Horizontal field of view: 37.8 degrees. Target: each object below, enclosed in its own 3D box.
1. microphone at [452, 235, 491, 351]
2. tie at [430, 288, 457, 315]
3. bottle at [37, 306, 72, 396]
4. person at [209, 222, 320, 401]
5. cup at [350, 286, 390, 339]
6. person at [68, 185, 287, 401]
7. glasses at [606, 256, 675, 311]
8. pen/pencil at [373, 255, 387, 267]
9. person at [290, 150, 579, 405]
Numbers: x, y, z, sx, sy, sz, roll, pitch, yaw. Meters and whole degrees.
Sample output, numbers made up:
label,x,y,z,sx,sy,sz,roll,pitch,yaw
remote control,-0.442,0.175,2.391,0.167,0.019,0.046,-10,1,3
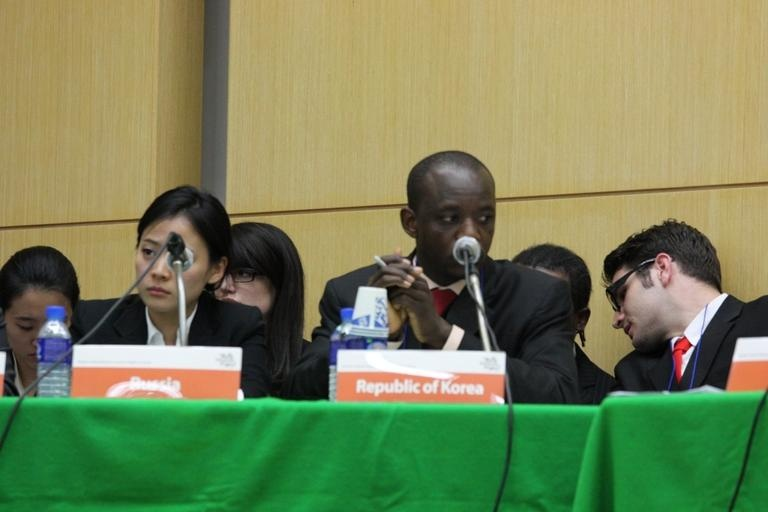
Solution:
label,x,y,z,sx,sy,sz,roll,pitch,yaw
microphone,0.330,0.108,4.005,0.091,0.499,0.100,5,-41,-21
tie,0.234,0.194,4.513,0.090,0.103,0.026,1,-13,-4
bottle,-1.158,0.345,3.930,0.111,0.315,0.335,0,4,-18
person,-0.520,0.246,4.689,0.397,0.798,0.462,-14,-28,28
cup,-0.051,0.197,3.888,0.133,0.179,0.096,0,4,-11
person,-0.809,0.190,4.757,0.767,1.080,0.833,1,-21,-4
glasses,1.132,0.115,5.016,0.060,0.222,0.215,39,-13,22
pen/pencil,-0.022,0.018,4.099,0.022,0.023,0.090,34,-5,14
person,0.257,0.088,4.556,0.664,1.385,0.769,1,-49,-2
